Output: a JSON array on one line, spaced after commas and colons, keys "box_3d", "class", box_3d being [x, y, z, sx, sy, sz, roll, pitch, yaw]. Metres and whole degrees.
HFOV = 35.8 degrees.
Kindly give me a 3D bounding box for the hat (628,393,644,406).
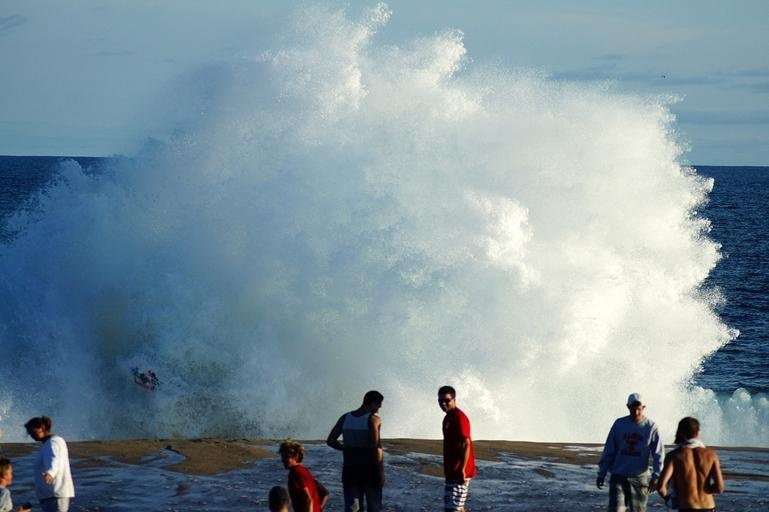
[{"box_3d": [5.240, 3.005, 25.082, 0.293, 0.253, 0.240, 0, -3, 11], "class": "hat"}]
